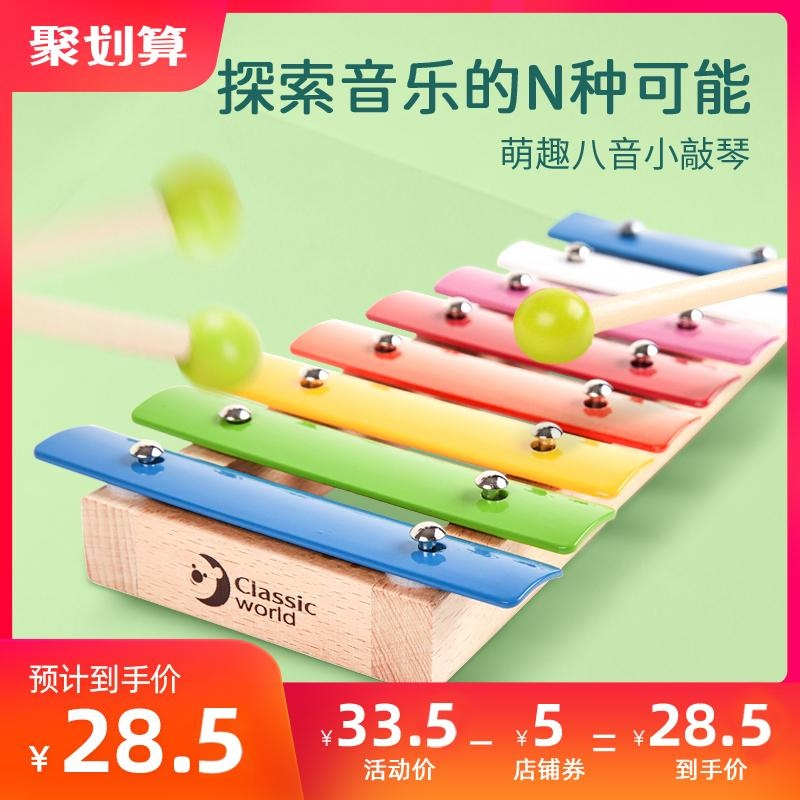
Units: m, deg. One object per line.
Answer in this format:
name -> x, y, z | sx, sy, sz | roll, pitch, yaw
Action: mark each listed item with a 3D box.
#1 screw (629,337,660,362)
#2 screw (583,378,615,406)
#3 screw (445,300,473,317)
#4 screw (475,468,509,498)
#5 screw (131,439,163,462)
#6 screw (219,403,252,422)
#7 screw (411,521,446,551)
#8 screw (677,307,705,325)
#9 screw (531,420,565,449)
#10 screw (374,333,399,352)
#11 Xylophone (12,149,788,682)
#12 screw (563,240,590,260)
screw -> 0.595, -0.128, 2.161 | 0.066, 0.058, 0.019 | -1, -50, 6
screw -> 0.437, -0.017, 1.959 | 0.068, 0.068, 0.066 | -3, 1, 39
screw -> 0.161, -0.249, 2.396 | 0.068, 0.036, 0.041 | -9, -73, 17
screw -> 0.163, 0.151, 1.579 | 0.060, 0.052, 0.038 | -18, -49, -16
screw -> -0.488, 0.096, 1.703 | 0.056, 0.046, 0.024 | 0, -63, -3
screw -> -0.359, 0.024, 1.872 | 0.048, 0.048, 0.014 | -9, -63, -26
screw -> 0.046, 0.221, 1.426 | 0.053, 0.049, 0.034 | 15, -50, 34
screw -> 0.771, -0.224, 2.354 | 0.071, 0.039, 0.019 | 20, 9, 39
screw -> 0.290, 0.064, 1.780 | 0.067, 0.049, 0.058 | -3, 17, -18
screw -> -0.046, -0.141, 2.208 | 0.056, 0.046, 0.016 | -7, -43, 11
Xylophone -> -0.061, 0.094, 1.715 | 1.099, 1.275, 0.292 | -13, 30, -42
screw -> 0.546, -0.466, 2.745 | 0.078, 0.046, 0.051 | 2, -25, 8
